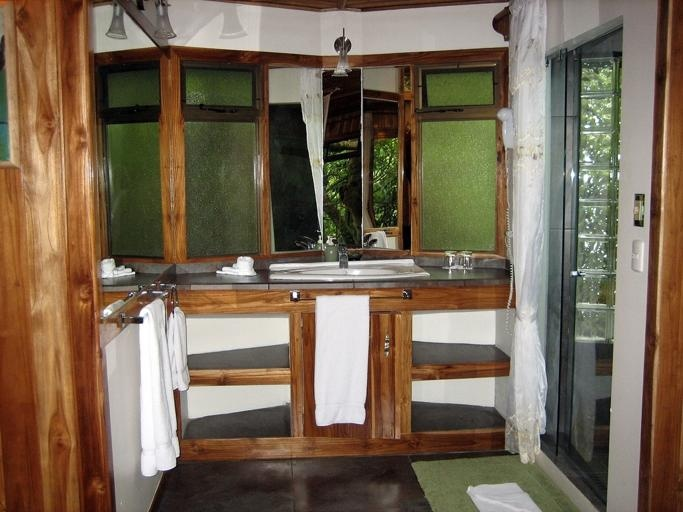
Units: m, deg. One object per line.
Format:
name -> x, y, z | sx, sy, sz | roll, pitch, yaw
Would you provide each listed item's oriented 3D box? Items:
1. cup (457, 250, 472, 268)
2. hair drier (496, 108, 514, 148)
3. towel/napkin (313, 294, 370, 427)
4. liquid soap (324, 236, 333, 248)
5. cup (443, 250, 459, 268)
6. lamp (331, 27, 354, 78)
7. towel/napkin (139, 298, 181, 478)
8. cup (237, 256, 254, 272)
cup -> 0.817, 0.020, 3.975 | 0.088, 0.120, 0.160 | -1, 7, 11
hair drier -> 0.924, -0.734, 3.433 | 0.080, 0.235, 0.267 | 0, 7, 13
towel/napkin -> 0.001, 0.602, 3.485 | 0.306, 0.741, 0.069 | -3, 6, -12
liquid soap -> -0.082, -0.109, 4.102 | 0.078, 0.080, 0.050 | 1, 1, 43
cup -> 0.724, 0.020, 3.994 | 0.097, 0.117, 0.102 | 2, 2, 0
lamp -> 0.004, -1.366, 3.987 | 0.126, 0.315, 0.162 | -2, 6, 0
towel/napkin -> -0.874, 0.685, 2.853 | 0.174, 0.905, 0.472 | -4, 7, -19
cup -> -0.610, 0.046, 3.825 | 0.108, 0.092, 0.116 | -2, 6, 0
